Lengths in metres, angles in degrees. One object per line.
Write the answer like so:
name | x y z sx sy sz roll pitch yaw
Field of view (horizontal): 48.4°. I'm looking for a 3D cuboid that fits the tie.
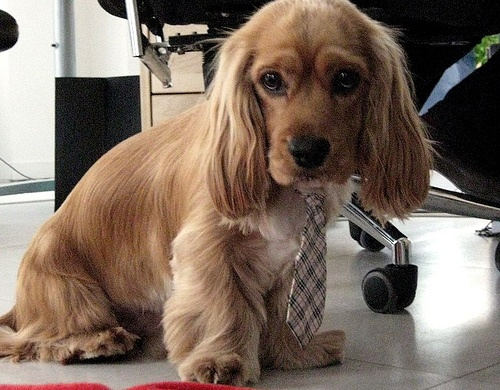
tie | 0.135 0.182 1.290 0.051 0.322 0.137 3 7 28
